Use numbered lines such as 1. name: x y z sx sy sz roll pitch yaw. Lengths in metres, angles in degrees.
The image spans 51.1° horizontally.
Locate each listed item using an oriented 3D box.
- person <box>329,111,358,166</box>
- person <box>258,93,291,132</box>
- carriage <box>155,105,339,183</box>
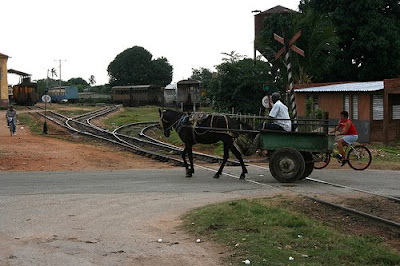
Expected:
1. person: 5.778 0.198 17.242 1.340 2.006 0.737 3 3 6
2. person: 2.765 -0.776 15.395 1.320 1.368 1.095 -5 11 7
3. carriage: 1.339 0.454 15.976 6.932 2.604 2.101 2 5 19
